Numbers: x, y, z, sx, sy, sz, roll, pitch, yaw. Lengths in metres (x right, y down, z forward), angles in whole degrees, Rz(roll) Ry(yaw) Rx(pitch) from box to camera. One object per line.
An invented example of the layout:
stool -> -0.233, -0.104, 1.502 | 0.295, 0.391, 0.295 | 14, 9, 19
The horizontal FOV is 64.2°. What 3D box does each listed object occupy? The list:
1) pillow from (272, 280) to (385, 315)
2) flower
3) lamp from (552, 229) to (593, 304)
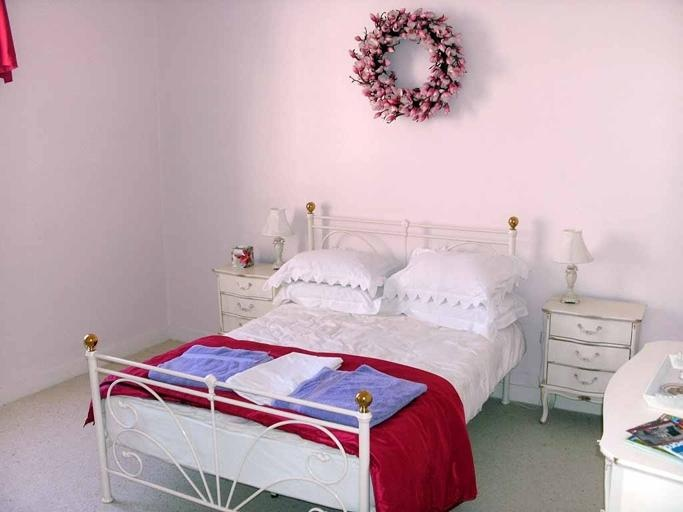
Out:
pillow -> -0.093, 0.296, 3.920 | 0.470, 0.117, 0.308 | 5, 14, 21
flower -> 0.490, -1.390, 3.962 | 0.808, 0.838, 0.250 | 0, 10, 25
lamp -> 1.563, 0.055, 3.669 | 0.232, 0.486, 0.313 | 7, 16, 25
